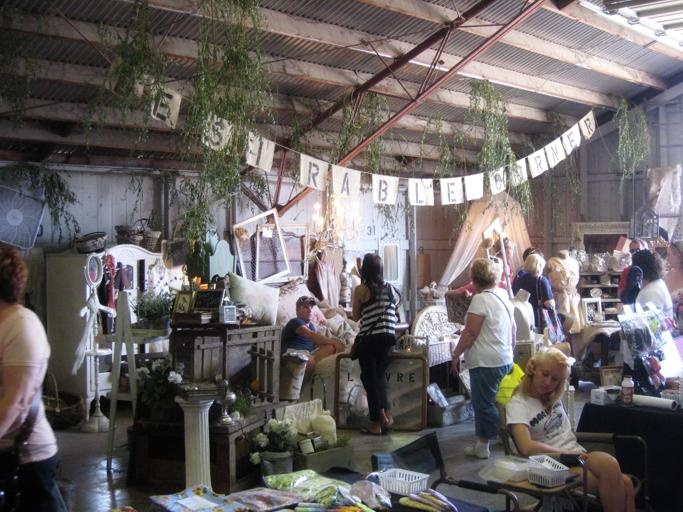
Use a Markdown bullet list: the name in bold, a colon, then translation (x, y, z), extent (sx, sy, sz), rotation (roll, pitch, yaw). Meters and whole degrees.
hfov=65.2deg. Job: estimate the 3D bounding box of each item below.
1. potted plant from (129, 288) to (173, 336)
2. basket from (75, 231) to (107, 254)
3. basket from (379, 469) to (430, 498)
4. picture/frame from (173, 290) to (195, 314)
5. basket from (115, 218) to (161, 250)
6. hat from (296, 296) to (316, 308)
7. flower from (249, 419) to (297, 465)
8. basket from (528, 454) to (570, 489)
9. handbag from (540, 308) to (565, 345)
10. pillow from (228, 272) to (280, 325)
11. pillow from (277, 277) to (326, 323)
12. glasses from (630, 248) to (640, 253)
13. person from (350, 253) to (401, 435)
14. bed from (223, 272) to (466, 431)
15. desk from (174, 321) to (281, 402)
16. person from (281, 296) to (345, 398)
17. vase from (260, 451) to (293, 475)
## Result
- **potted plant**: translation (-1.972, 0.550, 5.704), extent (0.433, 0.583, 0.397), rotation (1, 2, 30)
- **basket**: translation (-3.486, -0.266, 7.586), extent (0.306, 0.157, 0.373), rotation (-5, 8, 11)
- **basket**: translation (0.365, 1.305, 3.192), extent (0.190, 0.086, 0.143), rotation (-2, -1, 38)
- **picture/frame**: translation (-1.392, 0.409, 4.775), extent (0.158, 0.221, 0.022), rotation (-3, -36, 6)
- **basket**: translation (-3.204, -0.326, 8.425), extent (0.487, 0.345, 0.647), rotation (1, -1, -32)
- **hat**: translation (-0.474, 0.568, 6.807), extent (0.155, 0.089, 0.238), rotation (1, -3, -18)
- **flower**: translation (-0.580, 1.612, 4.800), extent (0.364, 0.365, 0.321), rotation (-3, 1, 20)
- **basket**: translation (1.254, 1.290, 3.229), extent (0.232, 0.142, 0.174), rotation (-3, -7, 26)
- **handbag**: translation (2.811, 0.914, 7.078), extent (0.162, 0.486, 0.437), rotation (-11, -10, 29)
- **pillow**: translation (-0.936, 0.450, 5.688), extent (0.214, 0.544, 0.731), rotation (-4, -16, 40)
- **pillow**: translation (-0.719, 0.721, 8.916), extent (0.171, 0.660, 0.620), rotation (-20, -2, 26)
- **glasses**: translation (4.544, -0.098, 8.268), extent (0.117, 0.094, 0.148), rotation (9, -11, -42)
- **person**: translation (0.382, 1.013, 6.152), extent (0.505, 2.041, 0.398), rotation (3, -7, -22)
- **bed**: translation (0.577, 0.860, 6.685), extent (1.124, 2.172, 1.804), rotation (-11, 9, -41)
- **desk**: translation (-1.217, 0.911, 4.894), extent (0.327, 0.507, 0.622), rotation (0, -12, 34)
- **person**: translation (-0.444, 1.120, 7.127), extent (0.871, 1.829, 0.967), rotation (0, -3, 10)
- **vase**: translation (-0.573, 1.812, 4.713), extent (0.190, 0.179, 0.211), rotation (1, -5, -10)
